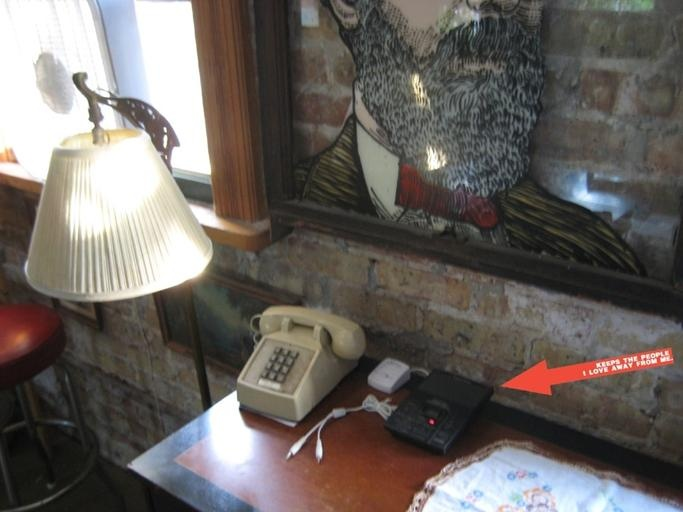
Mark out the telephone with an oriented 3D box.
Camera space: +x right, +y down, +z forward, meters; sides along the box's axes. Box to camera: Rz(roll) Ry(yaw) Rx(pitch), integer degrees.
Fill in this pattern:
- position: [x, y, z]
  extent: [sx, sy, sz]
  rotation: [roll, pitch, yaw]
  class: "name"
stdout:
- position: [-0.139, 0.304, 1.664]
  extent: [0.402, 0.219, 0.375]
  rotation: [1, 19, 27]
  class: "telephone"
